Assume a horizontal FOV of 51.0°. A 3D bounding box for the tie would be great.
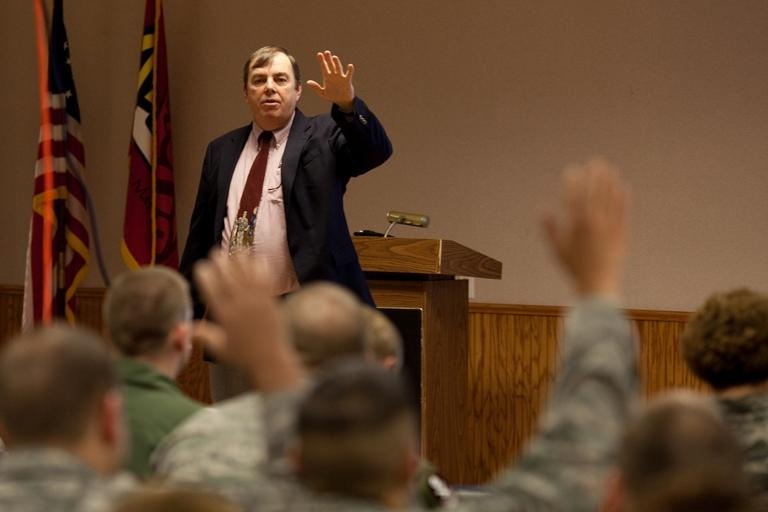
[{"bbox_3d":[-0.478,-0.236,3.003,0.096,0.491,0.040,7,-19,19],"label":"tie"}]
